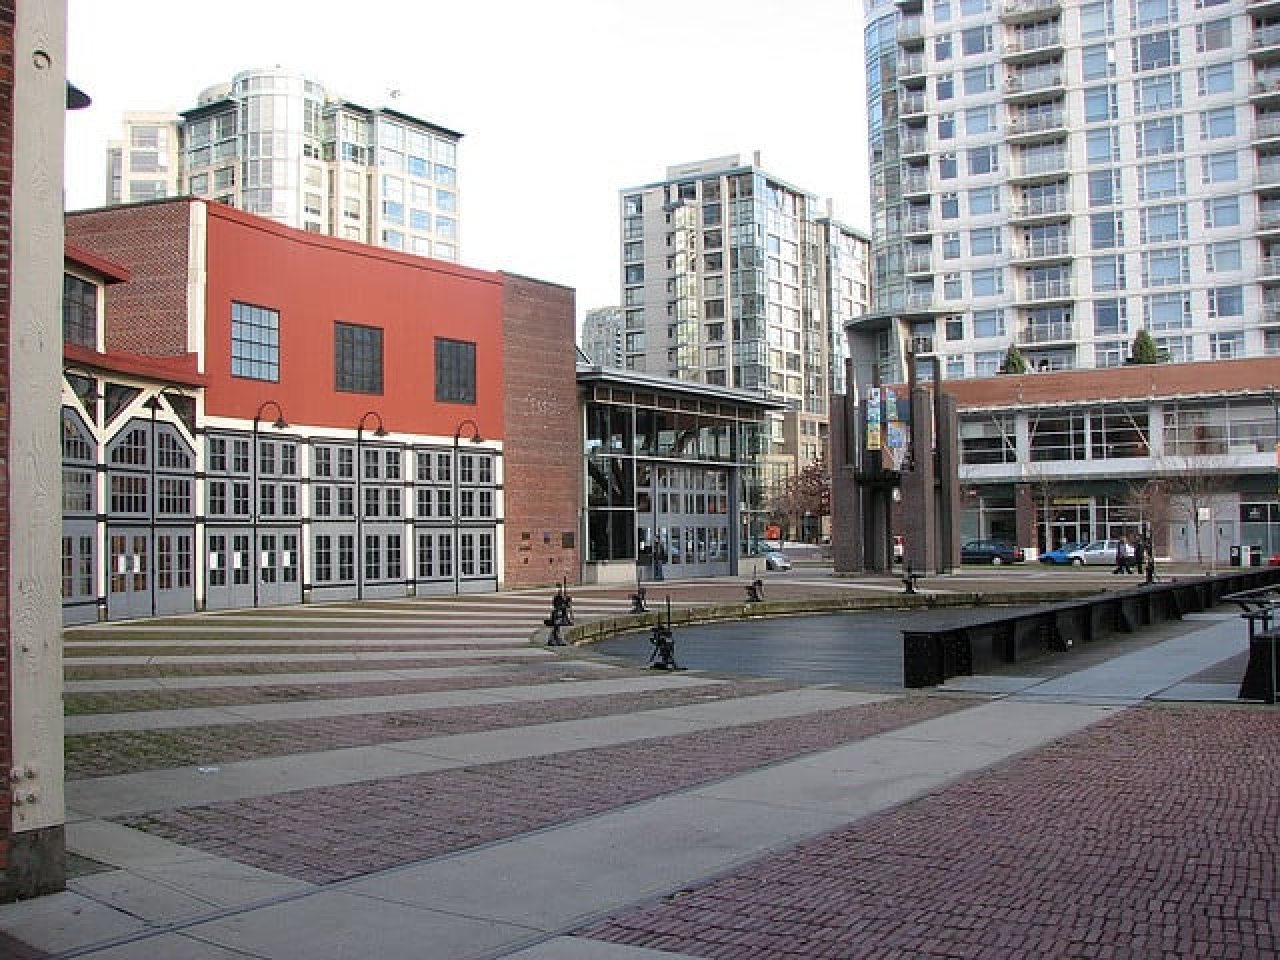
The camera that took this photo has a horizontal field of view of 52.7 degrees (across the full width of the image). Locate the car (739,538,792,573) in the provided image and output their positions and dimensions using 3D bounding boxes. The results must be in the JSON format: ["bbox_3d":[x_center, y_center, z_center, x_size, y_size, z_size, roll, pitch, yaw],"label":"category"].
[{"bbox_3d":[5.492,3.655,64.249,3.274,1.393,1.877,-4,-4,7],"label":"car"}]

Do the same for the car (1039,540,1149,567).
[{"bbox_3d":[21.764,3.467,64.297,3.599,1.141,1.697,1,-4,23],"label":"car"}]

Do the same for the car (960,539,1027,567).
[{"bbox_3d":[17.230,3.638,63.945,2.973,0.872,1.361,2,0,36],"label":"car"}]
